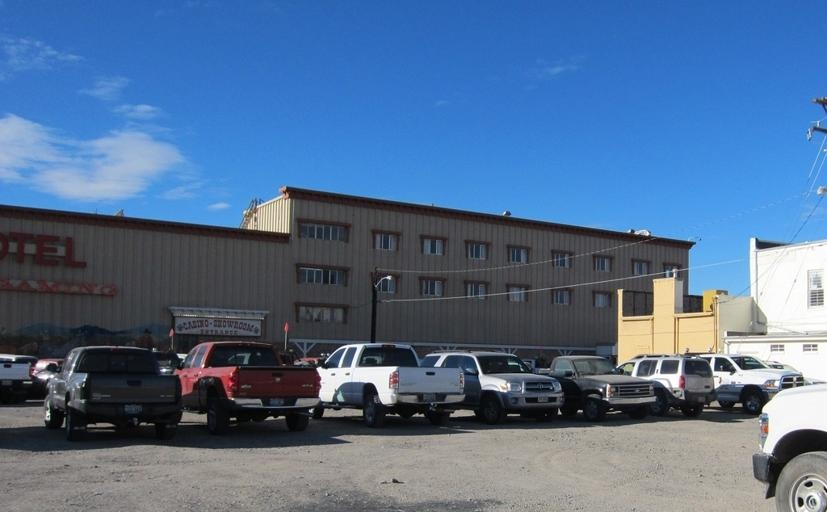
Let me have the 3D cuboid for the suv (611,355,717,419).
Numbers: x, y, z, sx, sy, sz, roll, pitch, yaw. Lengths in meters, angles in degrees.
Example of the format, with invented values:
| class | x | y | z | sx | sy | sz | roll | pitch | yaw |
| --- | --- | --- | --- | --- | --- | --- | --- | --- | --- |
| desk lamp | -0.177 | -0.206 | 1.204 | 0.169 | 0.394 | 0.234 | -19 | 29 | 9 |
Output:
| class | x | y | z | sx | sy | sz | roll | pitch | yaw |
| --- | --- | --- | --- | --- | --- | --- | --- | --- | --- |
| suv | 9.950 | 5.122 | 28.953 | 2.269 | 1.766 | 3.849 | 4 | -3 | -36 |

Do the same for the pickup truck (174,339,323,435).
| class | x | y | z | sx | sy | sz | roll | pitch | yaw |
| --- | --- | --- | --- | --- | --- | --- | --- | --- | --- |
| pickup truck | -4.915 | 3.871 | 20.812 | 4.009 | 2.560 | 2.118 | 1 | -1 | 28 |

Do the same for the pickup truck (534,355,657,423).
| class | x | y | z | sx | sy | sz | roll | pitch | yaw |
| --- | --- | --- | --- | --- | --- | --- | --- | --- | --- |
| pickup truck | 6.652 | 4.886 | 26.838 | 2.200 | 1.483 | 3.685 | 3 | -9 | -31 |

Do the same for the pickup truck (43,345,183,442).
| class | x | y | z | sx | sy | sz | roll | pitch | yaw |
| --- | --- | --- | --- | --- | --- | --- | --- | --- | --- |
| pickup truck | -8.510 | 3.703 | 19.778 | 2.191 | 1.720 | 3.828 | 5 | -5 | -32 |

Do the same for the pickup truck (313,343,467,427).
| class | x | y | z | sx | sy | sz | roll | pitch | yaw |
| --- | --- | --- | --- | --- | --- | --- | --- | --- | --- |
| pickup truck | -0.974 | 4.143 | 23.348 | 4.386 | 2.573 | 2.036 | 1 | -1 | 36 |
